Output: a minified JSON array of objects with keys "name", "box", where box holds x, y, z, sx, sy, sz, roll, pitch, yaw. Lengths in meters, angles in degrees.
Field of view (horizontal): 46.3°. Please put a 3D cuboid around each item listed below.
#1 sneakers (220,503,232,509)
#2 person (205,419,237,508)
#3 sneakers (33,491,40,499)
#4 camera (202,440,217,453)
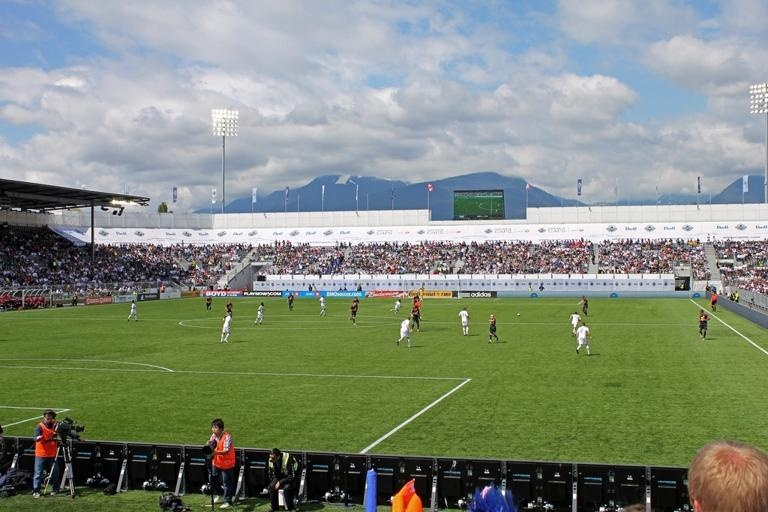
[{"name":"sneakers","box":[-6.728,10.653,38.189,0.441,0.266,0.170,0,-1,-9]},{"name":"person","box":[-6.905,8.908,38.313,1.131,3.743,0.730,0,-1,-10]},{"name":"sneakers","box":[-15.005,10.339,38.724,0.413,0.255,0.192,-1,-1,20]},{"name":"camera","box":[-7.354,8.122,37.856,0.504,0.430,0.905,0,-1,-3]}]
